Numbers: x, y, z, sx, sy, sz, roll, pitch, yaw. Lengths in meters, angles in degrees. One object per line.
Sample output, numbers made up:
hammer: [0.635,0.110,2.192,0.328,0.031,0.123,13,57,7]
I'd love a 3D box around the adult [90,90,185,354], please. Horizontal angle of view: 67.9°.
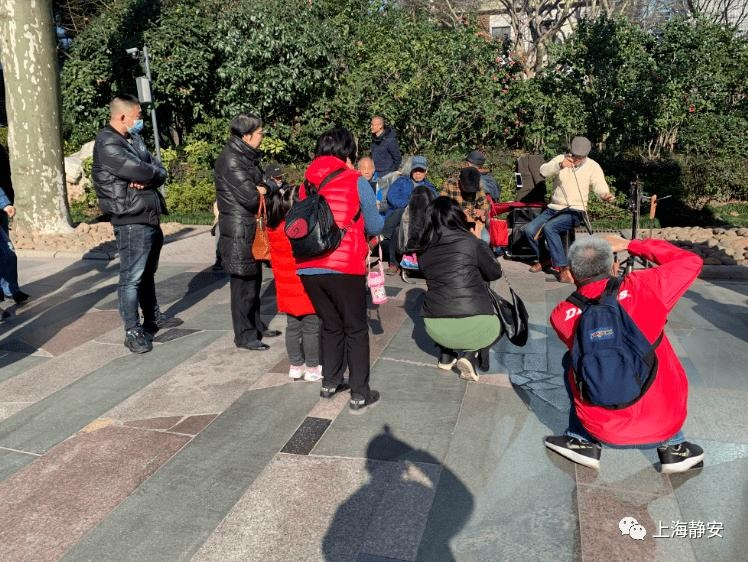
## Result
adult: [-2.458,-0.577,5.724,0.621,2.546,0.799,-3,15,2]

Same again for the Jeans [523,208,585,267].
Jeans: [2.681,-0.670,8.241,0.654,0.810,0.709,-13,8,-12]

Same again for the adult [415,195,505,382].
adult: [0.733,-0.046,4.774,0.722,1.317,0.344,0,16,12]

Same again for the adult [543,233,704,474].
adult: [1.799,0.530,3.956,1.106,1.373,1.474,0,17,22]

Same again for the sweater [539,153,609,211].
sweater: [2.871,-1.444,8.156,0.826,1.001,0.890,3,21,12]

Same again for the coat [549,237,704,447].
coat: [1.713,0.421,3.922,0.881,1.128,1.187,-5,15,38]

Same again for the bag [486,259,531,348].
bag: [1.369,0.253,5.659,0.299,0.754,0.713,-25,26,30]

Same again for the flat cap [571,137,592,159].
flat cap: [2.852,-1.849,7.721,0.247,0.284,0.321,2,16,18]

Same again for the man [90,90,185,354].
man: [-2.458,-0.577,5.726,0.621,2.546,0.803,-3,15,2]

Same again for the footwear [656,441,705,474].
footwear: [2.054,1.177,3.795,0.398,0.182,0.151,-7,6,-24]

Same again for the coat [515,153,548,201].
coat: [2.778,-1.787,9.721,0.680,0.824,0.302,1,8,5]

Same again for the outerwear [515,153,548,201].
outerwear: [2.764,-1.782,9.670,0.680,0.824,0.302,1,8,5]

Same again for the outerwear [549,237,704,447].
outerwear: [1.785,0.461,3.910,0.938,1.136,1.181,-13,5,41]

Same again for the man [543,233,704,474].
man: [1.785,0.558,3.984,1.110,1.374,1.445,-1,14,20]

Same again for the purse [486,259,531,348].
purse: [1.369,0.253,5.659,0.299,0.754,0.713,-25,26,30]
